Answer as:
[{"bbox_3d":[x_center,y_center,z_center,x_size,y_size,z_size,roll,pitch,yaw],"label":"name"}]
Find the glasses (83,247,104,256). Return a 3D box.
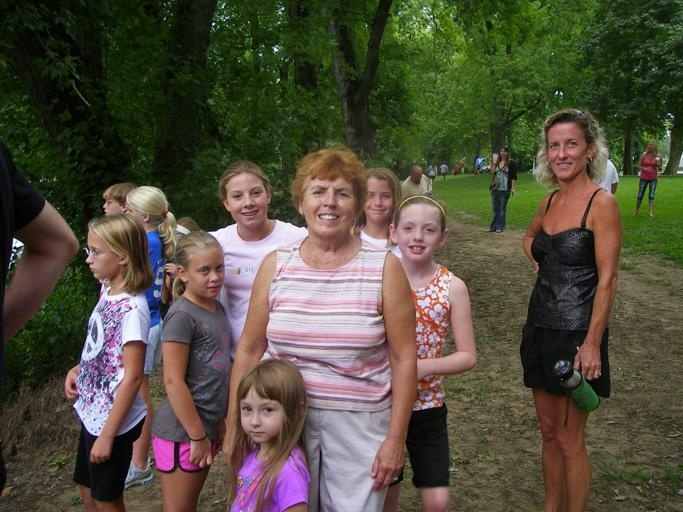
[{"bbox_3d":[-2.022,-0.044,5.260,0.125,0.040,0.133,-2,-9,30],"label":"glasses"}]

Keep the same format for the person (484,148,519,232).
[{"bbox_3d":[3.980,-1.636,15.886,0.594,2.108,1.184,1,14,13],"label":"person"}]

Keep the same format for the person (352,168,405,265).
[{"bbox_3d":[0.334,-0.209,5.341,0.503,1.003,0.385,-3,-17,15],"label":"person"}]

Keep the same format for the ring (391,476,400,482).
[{"bbox_3d":[0.359,1.486,4.225,0.049,0.047,0.011,-11,22,-26],"label":"ring"}]
